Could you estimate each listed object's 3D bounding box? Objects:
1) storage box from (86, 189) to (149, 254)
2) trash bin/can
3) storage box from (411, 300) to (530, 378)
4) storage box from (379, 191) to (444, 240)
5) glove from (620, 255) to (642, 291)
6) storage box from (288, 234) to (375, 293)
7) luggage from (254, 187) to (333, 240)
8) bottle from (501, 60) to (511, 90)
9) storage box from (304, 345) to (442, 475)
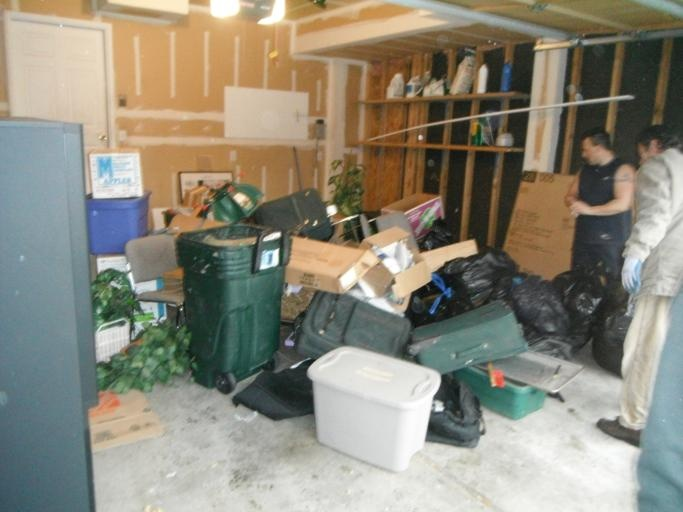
[{"bbox_3d":[-1.892,-0.301,4.404,0.414,0.420,0.670,-2,15,-24],"label":"storage box"},{"bbox_3d":[-0.728,0.346,3.684,0.727,0.955,0.676,5,7,29],"label":"trash bin/can"},{"bbox_3d":[0.810,0.512,3.520,0.715,0.401,0.532,2,16,6],"label":"storage box"},{"bbox_3d":[0.740,-0.392,5.642,0.373,0.392,0.647,19,33,36],"label":"storage box"},{"bbox_3d":[1.707,0.106,3.146,0.124,0.187,0.066,3,1,-1],"label":"glove"},{"bbox_3d":[-0.105,0.062,3.742,0.539,0.117,0.379,13,34,16],"label":"storage box"},{"bbox_3d":[-0.425,-0.341,4.622,0.699,0.444,0.160,-16,-5,-37],"label":"luggage"},{"bbox_3d":[1.749,-1.903,5.672,0.102,0.310,0.221,5,17,17],"label":"bottle"},{"bbox_3d":[0.178,0.859,3.028,0.735,0.460,0.474,13,21,37],"label":"storage box"}]
